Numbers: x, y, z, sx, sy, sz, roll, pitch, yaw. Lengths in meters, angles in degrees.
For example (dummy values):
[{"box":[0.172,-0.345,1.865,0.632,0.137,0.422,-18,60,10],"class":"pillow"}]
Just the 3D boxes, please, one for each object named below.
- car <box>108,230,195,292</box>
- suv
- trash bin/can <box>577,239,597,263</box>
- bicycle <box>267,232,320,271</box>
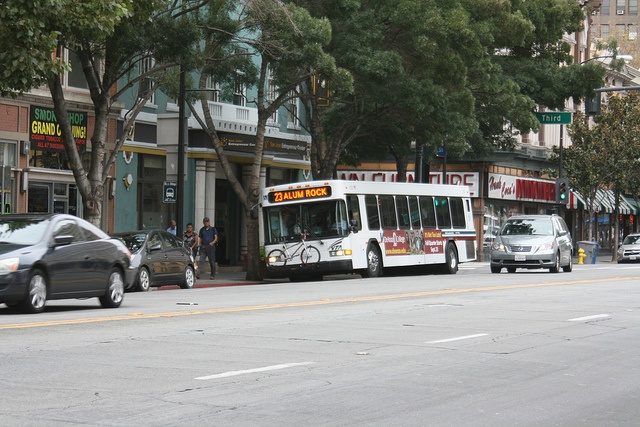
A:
[{"box":[-5.014,1.450,24.174,1.405,1.121,2.437,-6,-11,27],"class":"car"},{"box":[8.845,1.225,31.775,3.418,2.467,1.790,-1,-5,-20],"class":"suv"},{"box":[17.449,2.465,50.328,1.447,2.018,1.619,-1,-1,18],"class":"trash bin/can"},{"box":[-0.984,1.370,27.803,1.867,1.161,0.922,-7,-7,14],"class":"bicycle"}]
